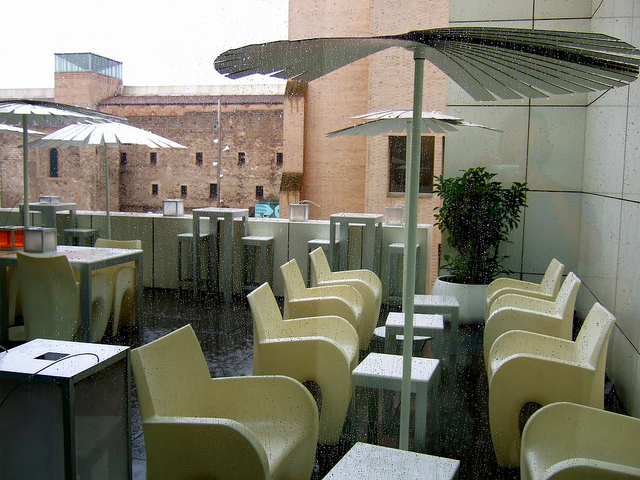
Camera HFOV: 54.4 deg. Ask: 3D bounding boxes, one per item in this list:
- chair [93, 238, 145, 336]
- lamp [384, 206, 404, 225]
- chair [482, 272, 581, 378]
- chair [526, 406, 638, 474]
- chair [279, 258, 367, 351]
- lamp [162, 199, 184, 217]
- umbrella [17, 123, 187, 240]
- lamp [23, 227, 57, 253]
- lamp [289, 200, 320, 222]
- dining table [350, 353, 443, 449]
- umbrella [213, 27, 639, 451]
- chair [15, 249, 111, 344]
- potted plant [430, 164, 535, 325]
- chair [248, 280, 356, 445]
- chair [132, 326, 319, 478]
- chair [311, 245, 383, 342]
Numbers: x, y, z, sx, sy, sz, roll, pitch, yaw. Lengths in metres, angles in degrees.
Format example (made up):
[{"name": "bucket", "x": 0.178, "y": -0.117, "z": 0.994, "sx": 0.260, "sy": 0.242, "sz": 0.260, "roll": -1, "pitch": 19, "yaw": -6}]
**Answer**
[{"name": "chair", "x": -2.430, "y": 0.597, "z": 7.027, "sx": 0.614, "sy": 1.192, "sz": 0.602, "roll": 2, "pitch": -3, "yaw": -21}, {"name": "lamp", "x": 1.038, "y": -0.341, "z": 8.868, "sx": 0.255, "sy": 0.310, "sz": 0.211, "roll": 1, "pitch": 2, "yaw": 13}, {"name": "chair", "x": 1.905, "y": 0.738, "z": 5.900, "sx": 0.873, "sy": 1.447, "sz": 0.913, "roll": 2, "pitch": 6, "yaw": 19}, {"name": "chair", "x": 1.472, "y": 1.131, "z": 3.491, "sx": 0.454, "sy": 0.197, "sz": 0.373, "roll": -2, "pitch": 1, "yaw": 4}, {"name": "chair", "x": 0.033, "y": 0.634, "z": 5.988, "sx": 0.836, "sy": 1.038, "sz": 0.945, "roll": -1, "pitch": 31, "yaw": 0}, {"name": "lamp", "x": -2.314, "y": -0.491, "z": 9.694, "sx": 0.244, "sy": 0.305, "sz": 0.274, "roll": 1, "pitch": 4, "yaw": 8}, {"name": "umbrella", "x": -3.066, "y": -0.739, "z": 9.236, "sx": 1.796, "sy": 1.858, "sz": 1.925, "roll": -2, "pitch": -2, "yaw": -4}, {"name": "lamp", "x": -2.712, "y": -0.021, "z": 6.037, "sx": 0.222, "sy": 0.275, "sz": 0.252, "roll": 0, "pitch": 2, "yaw": 4}, {"name": "lamp", "x": -0.296, "y": -0.427, "z": 9.370, "sx": 0.323, "sy": 0.304, "sz": 0.199, "roll": 2, "pitch": 4, "yaw": 3}, {"name": "dining table", "x": 0.607, "y": 1.246, "z": 4.944, "sx": 0.714, "sy": 0.653, "sz": 1.044, "roll": 2, "pitch": -6, "yaw": 12}, {"name": "umbrella", "x": 0.761, "y": 0.191, "z": 3.769, "sx": 1.924, "sy": 2.566, "sz": 2.056, "roll": 2, "pitch": 4, "yaw": 35}, {"name": "chair", "x": -2.461, "y": 0.574, "z": 6.027, "sx": 0.553, "sy": 0.824, "sz": 0.924, "roll": 0, "pitch": -7, "yaw": 29}, {"name": "potted plant", "x": 1.960, "y": 0.240, "z": 7.975, "sx": 1.082, "sy": 1.971, "sz": 0.989, "roll": 4, "pitch": -2, "yaw": 35}, {"name": "chair", "x": -0.089, "y": 0.945, "z": 4.941, "sx": 0.930, "sy": 1.138, "sz": 1.012, "roll": -7, "pitch": 7, "yaw": -18}, {"name": "chair", "x": -0.470, "y": 1.048, "z": 3.905, "sx": 0.899, "sy": 1.342, "sz": 0.834, "roll": -3, "pitch": 3, "yaw": 14}, {"name": "chair", "x": 0.314, "y": 0.581, "z": 6.782, "sx": 0.772, "sy": 1.237, "sz": 0.793, "roll": 1, "pitch": 8, "yaw": 12}]
